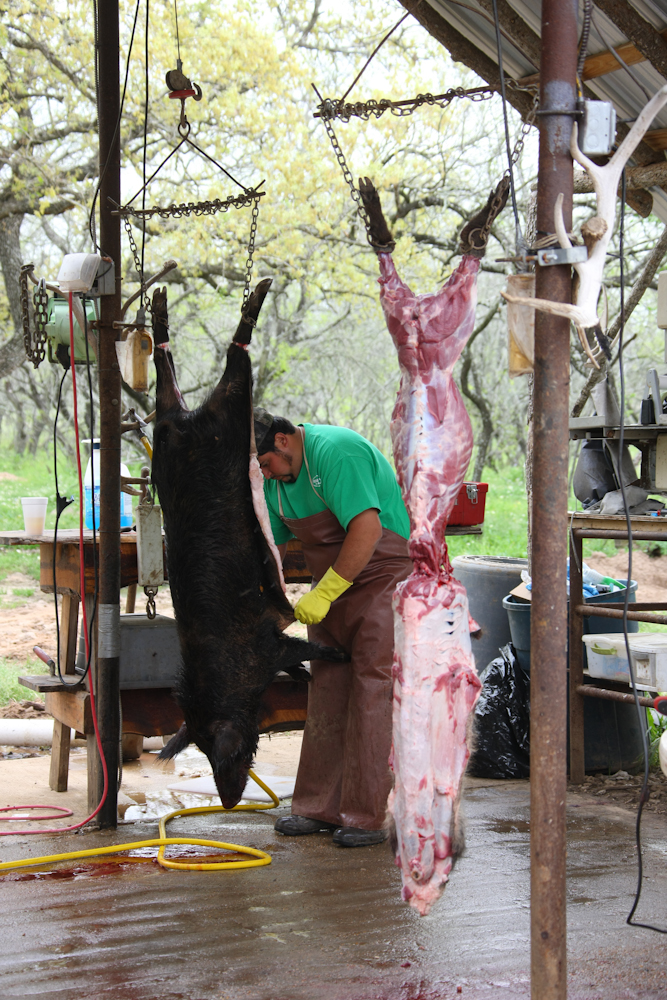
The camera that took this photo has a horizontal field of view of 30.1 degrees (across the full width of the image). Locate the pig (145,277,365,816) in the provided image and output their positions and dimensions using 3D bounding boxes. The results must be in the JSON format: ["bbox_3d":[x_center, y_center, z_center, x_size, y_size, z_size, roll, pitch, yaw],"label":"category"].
[{"bbox_3d":[-0.332,0.138,3.645,0.511,1.541,0.492,1,3,4],"label":"pig"}]

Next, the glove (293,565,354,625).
[{"bbox_3d":[-0.032,0.311,3.993,0.223,0.132,0.058,-37,-16,-15],"label":"glove"}]

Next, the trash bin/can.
[{"bbox_3d":[1.233,0.822,6.046,0.948,1.214,0.862,-2,-1,9],"label":"trash bin/can"}]

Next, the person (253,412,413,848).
[{"bbox_3d":[0.041,0.439,4.263,0.737,1.285,0.524,0,0,-21],"label":"person"}]
